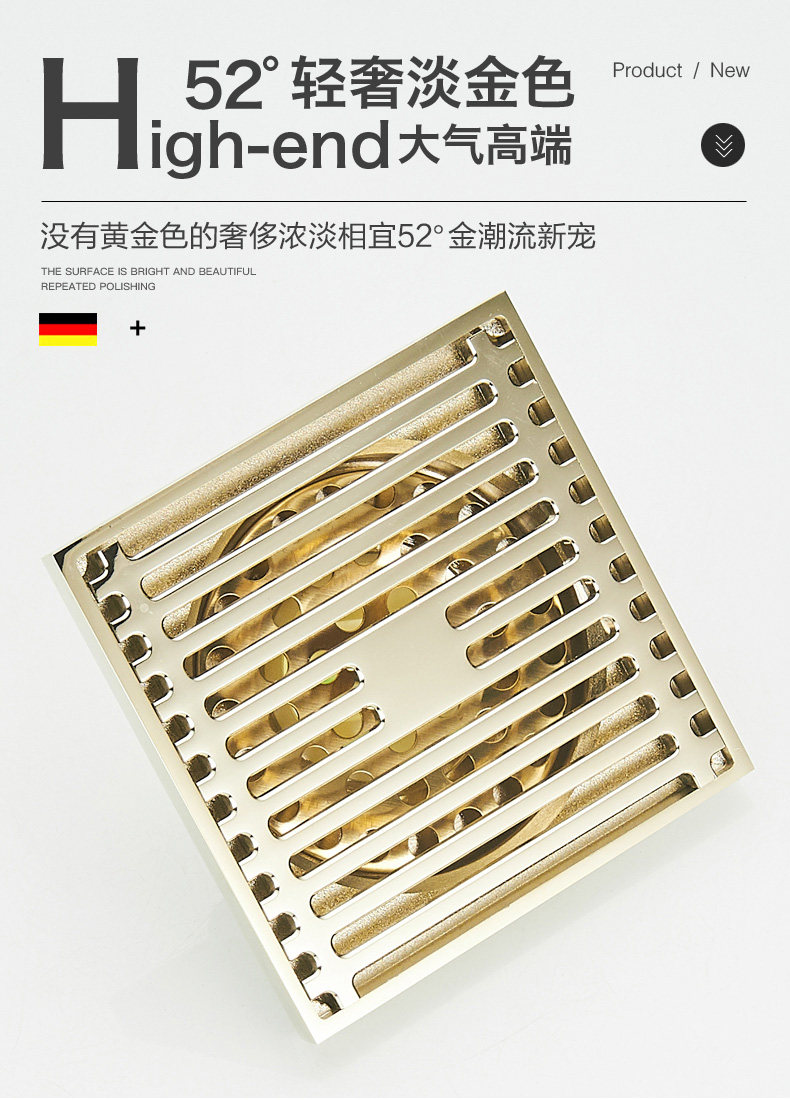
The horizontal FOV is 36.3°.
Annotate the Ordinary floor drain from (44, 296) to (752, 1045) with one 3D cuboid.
[{"bbox_3d":[0.016,0.078,0.761,0.339,0.251,0.319,-28,-58,6],"label":"Ordinary floor drain"}]
